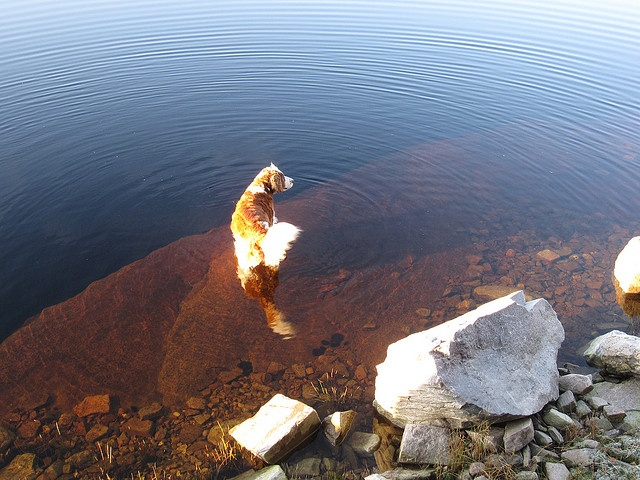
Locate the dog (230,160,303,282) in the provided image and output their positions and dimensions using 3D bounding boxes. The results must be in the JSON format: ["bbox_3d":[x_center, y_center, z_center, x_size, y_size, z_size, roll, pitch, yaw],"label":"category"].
[{"bbox_3d":[-1.052,-0.525,10.074,0.879,1.499,2.866,2,47,17],"label":"dog"}]
